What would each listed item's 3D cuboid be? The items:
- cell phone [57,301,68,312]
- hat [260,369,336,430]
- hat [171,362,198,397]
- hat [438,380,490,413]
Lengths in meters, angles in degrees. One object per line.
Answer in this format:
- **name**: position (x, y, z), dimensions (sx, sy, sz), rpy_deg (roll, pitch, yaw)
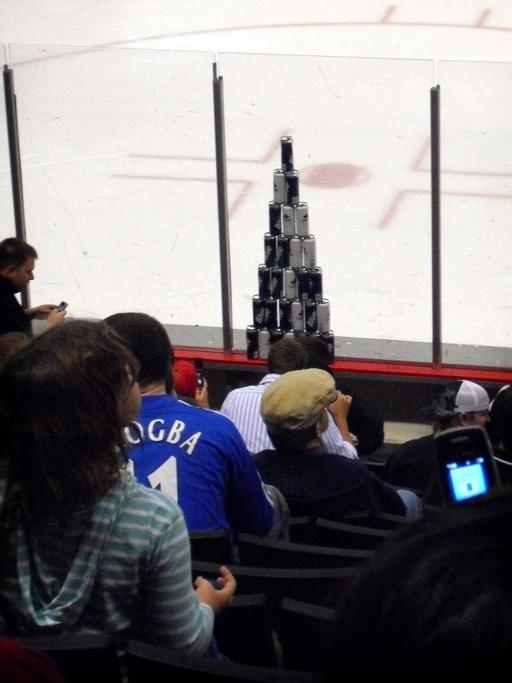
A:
- **cell phone**: position (-1.393, -0.249, 5.715), dimensions (0.054, 0.022, 0.097), rpy_deg (14, 25, 6)
- **hat**: position (0.143, 0.187, 2.730), dimensions (0.177, 0.085, 0.241), rpy_deg (12, 40, 36)
- **hat**: position (-0.457, 0.256, 5.152), dimensions (0.186, 0.217, 0.232), rpy_deg (4, 24, 9)
- **hat**: position (0.981, 0.267, 3.788), dimensions (0.244, 0.108, 0.134), rpy_deg (-2, -4, 17)
